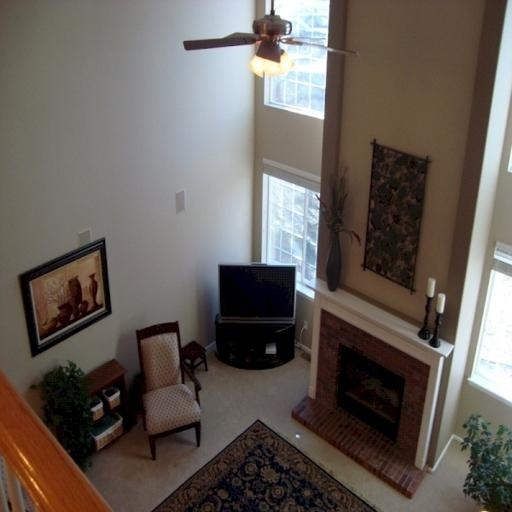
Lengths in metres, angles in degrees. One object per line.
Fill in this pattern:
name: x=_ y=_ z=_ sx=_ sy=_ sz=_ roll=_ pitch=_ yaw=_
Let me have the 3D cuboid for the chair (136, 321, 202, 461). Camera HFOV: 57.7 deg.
chair: x=-1.205 y=1.869 z=6.285 sx=0.761 sy=1.855 sz=0.980 roll=-10 pitch=28 yaw=-22

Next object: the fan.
fan: x=-0.007 y=-1.470 z=3.161 sx=0.693 sy=0.423 sz=0.778 roll=-4 pitch=24 yaw=-15

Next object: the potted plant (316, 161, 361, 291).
potted plant: x=1.035 y=-0.303 z=5.876 sx=0.262 sy=1.602 sz=0.605 roll=-16 pitch=23 yaw=-38

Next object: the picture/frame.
picture/frame: x=-2.246 y=0.432 z=5.390 sx=0.065 sy=1.149 sz=0.958 roll=16 pitch=30 yaw=29

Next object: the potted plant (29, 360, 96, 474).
potted plant: x=-2.298 y=2.008 z=5.714 sx=0.567 sy=1.420 sz=0.460 roll=1 pitch=18 yaw=7
